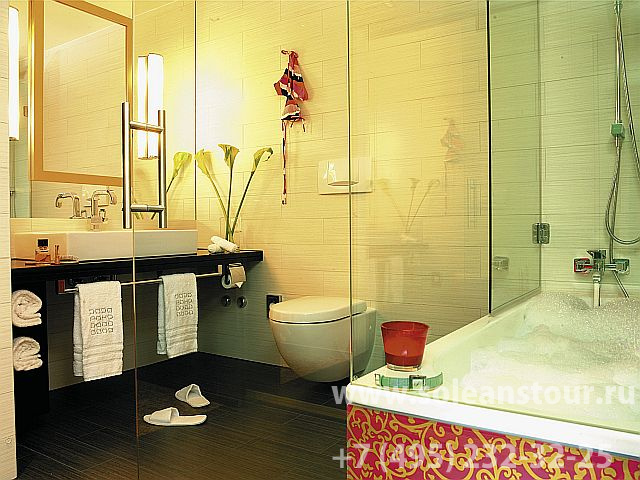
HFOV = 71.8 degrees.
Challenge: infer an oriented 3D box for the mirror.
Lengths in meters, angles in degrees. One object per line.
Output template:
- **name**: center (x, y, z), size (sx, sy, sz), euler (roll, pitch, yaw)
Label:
- **mirror**: center (-1.446, -0.897, 2.684), size (0.134, 1.125, 0.621), euler (4, 6, 41)

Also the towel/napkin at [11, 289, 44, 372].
- **towel/napkin**: center (-1.407, 0.430, 2.107), size (0.126, 0.392, 0.163), euler (-4, 6, -31)

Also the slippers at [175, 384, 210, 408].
- **slippers**: center (-0.565, 0.685, 1.939), size (0.162, 0.063, 0.082), euler (13, 17, 35)

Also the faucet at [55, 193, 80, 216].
- **faucet**: center (-1.504, -0.216, 2.631), size (0.105, 0.132, 0.142), euler (3, 2, 43)

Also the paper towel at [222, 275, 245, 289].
- **paper towel**: center (-0.381, 0.181, 1.922), size (0.131, 0.073, 0.024), euler (2, 6, 34)

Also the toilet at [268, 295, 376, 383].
- **toilet**: center (0.061, 0.365, 1.696), size (0.319, 0.249, 0.401), euler (2, 5, 38)

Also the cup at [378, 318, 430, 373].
- **cup**: center (0.250, 0.311, 1.313), size (0.149, 0.102, 0.145), euler (0, -5, 0)

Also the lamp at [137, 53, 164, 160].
- **lamp**: center (-0.769, -0.602, 1.990), size (0.117, 0.487, 0.143), euler (-2, 5, -12)

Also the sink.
- **sink**: center (-1.107, 0.025, 2.203), size (1.175, 0.169, 0.318), euler (2, 5, 32)

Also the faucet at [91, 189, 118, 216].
- **faucet**: center (-1.365, -0.220, 2.732), size (0.114, 0.202, 0.186), euler (0, 5, 10)

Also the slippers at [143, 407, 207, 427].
- **slippers**: center (-0.645, 0.772, 1.954), size (0.283, 0.063, 0.094), euler (1, 2, 1)
